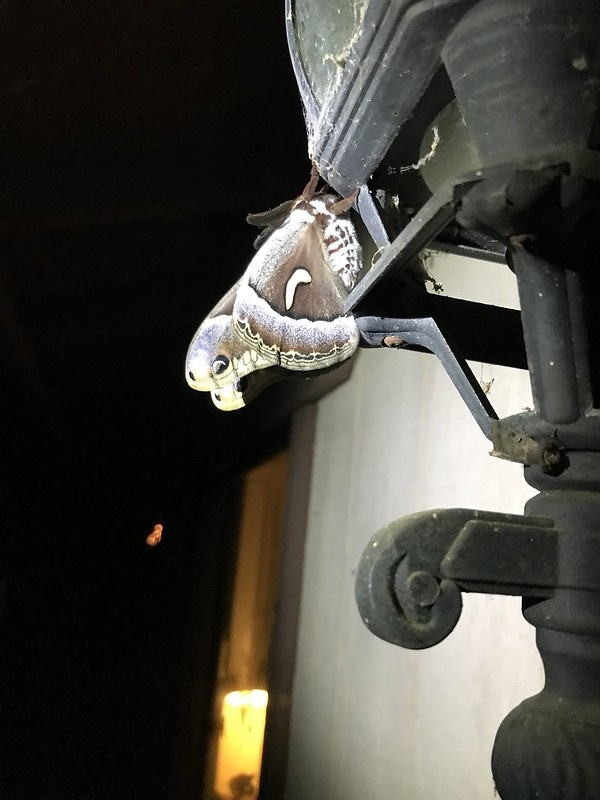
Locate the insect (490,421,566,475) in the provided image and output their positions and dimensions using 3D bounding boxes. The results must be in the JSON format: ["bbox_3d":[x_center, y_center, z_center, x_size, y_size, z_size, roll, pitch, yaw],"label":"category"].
[{"bbox_3d":[0.571,0.124,2.076,0.162,0.043,0.104,25,94,30],"label":"insect"}]
